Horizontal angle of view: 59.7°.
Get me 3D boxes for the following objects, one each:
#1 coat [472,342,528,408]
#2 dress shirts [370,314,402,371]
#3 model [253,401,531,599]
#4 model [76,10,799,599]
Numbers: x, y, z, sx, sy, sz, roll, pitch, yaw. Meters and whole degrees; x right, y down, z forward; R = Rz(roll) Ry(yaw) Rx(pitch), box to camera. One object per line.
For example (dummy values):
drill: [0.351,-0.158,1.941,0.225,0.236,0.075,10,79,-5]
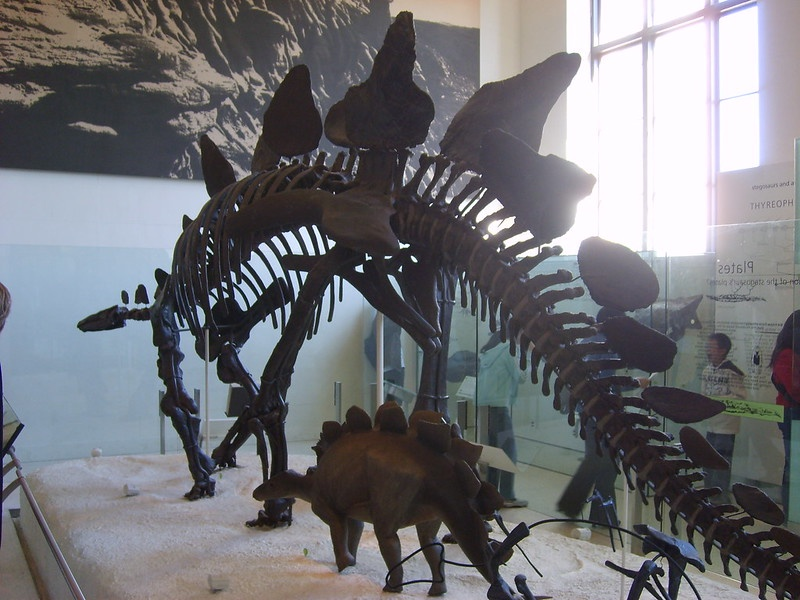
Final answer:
coat: [0.738,0.549,5.059,0.372,0.490,0.290,-7,-17,43]
dress shirts: [-0.097,0.377,6.120,0.191,0.543,0.507,-5,5,-16]
model: [0.011,1.014,3.496,1.271,1.007,0.413,0,2,34]
model: [0.000,-0.011,3.762,3.744,3.001,1.130,1,2,45]
